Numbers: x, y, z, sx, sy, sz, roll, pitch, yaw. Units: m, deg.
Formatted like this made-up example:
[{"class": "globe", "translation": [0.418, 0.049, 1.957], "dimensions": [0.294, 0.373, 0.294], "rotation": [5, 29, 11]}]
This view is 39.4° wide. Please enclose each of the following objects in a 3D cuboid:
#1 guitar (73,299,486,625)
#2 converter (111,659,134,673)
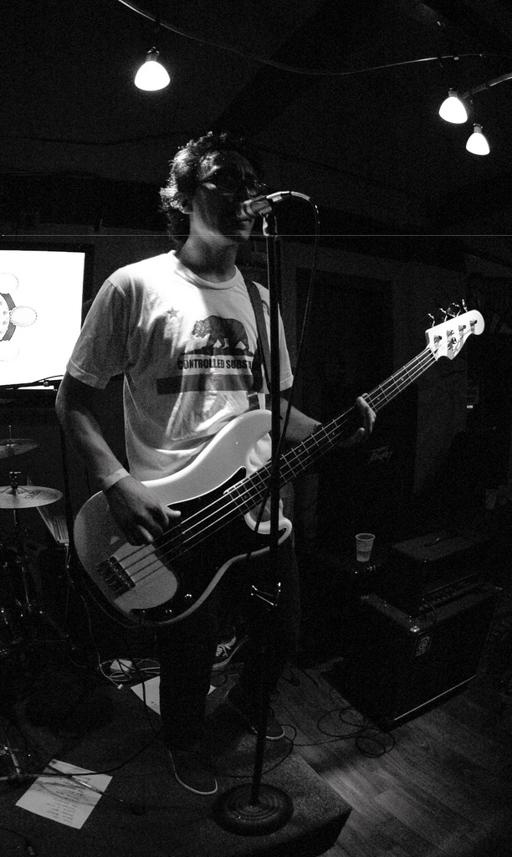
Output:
[{"class": "guitar", "translation": [0.062, 0.029, 1.453], "dimensions": [0.981, 0.321, 0.104], "rotation": [-44, 22, -16]}, {"class": "converter", "translation": [-0.263, 0.472, 1.419], "dimensions": [0.041, 0.023, 0.010], "rotation": [2, -2, -20]}]
